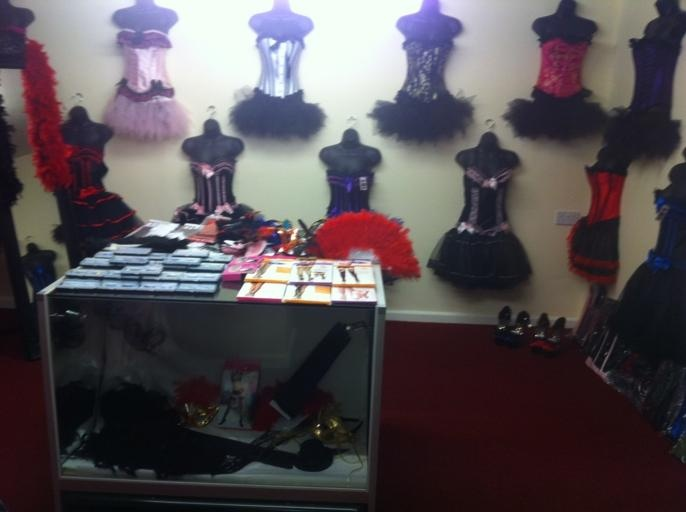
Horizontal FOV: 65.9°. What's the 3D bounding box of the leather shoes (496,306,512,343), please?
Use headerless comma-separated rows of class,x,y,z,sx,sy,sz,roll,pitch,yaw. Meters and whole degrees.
leather shoes,1.072,0.472,3.602,0.096,0.248,0.106,6,0,14

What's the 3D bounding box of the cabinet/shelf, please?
cabinet/shelf,-0.584,0.619,3.018,2.202,1.395,1.111,0,8,1

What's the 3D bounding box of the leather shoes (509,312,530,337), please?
leather shoes,1.172,0.456,3.558,0.053,0.142,0.106,19,11,11

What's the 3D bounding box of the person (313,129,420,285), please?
person,0.122,-0.350,3.280,1.064,1.037,0.228,-2,13,-2

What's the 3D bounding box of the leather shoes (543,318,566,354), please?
leather shoes,1.430,0.538,3.578,0.106,0.275,0.078,16,-1,16

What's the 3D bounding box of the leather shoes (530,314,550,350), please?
leather shoes,1.323,0.527,3.569,0.104,0.279,0.097,13,-8,12
